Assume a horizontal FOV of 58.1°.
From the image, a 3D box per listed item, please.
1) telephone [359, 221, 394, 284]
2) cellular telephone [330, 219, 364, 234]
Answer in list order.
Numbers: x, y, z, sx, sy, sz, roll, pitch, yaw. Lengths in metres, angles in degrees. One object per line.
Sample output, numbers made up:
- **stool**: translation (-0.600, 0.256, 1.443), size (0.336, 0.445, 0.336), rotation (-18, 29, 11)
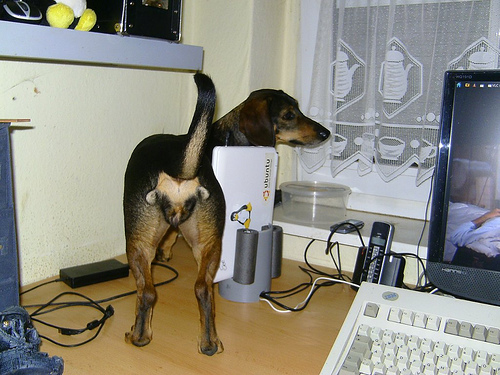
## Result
- **telephone**: translation (0.354, 0.185, 1.265), size (0.071, 0.167, 0.089), rotation (11, 18, 29)
- **cellular telephone**: translation (0.320, 0.122, 1.473), size (0.087, 0.019, 0.049), rotation (-10, 15, -43)
